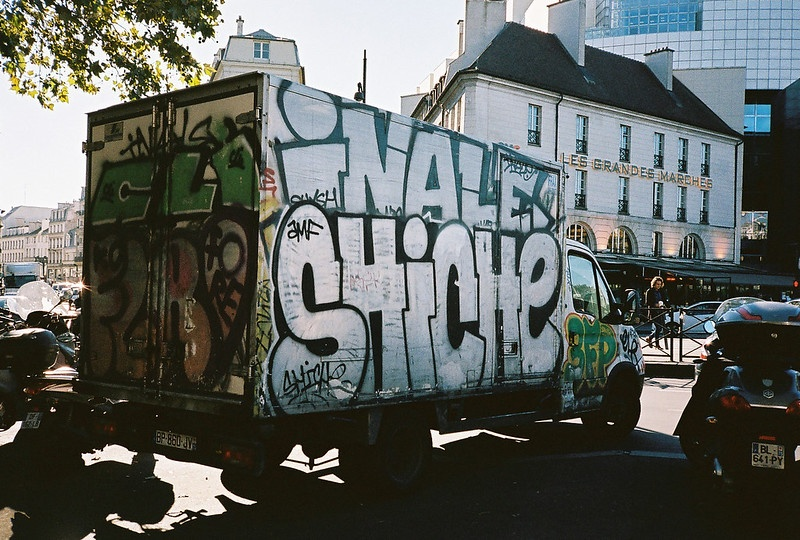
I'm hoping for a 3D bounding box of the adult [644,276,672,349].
[{"bbox_3d":[6.752,1.241,22.987,0.588,2.180,3.681,4,12,16],"label":"adult"}]

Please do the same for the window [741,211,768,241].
[{"bbox_3d":[24.075,-3.040,59.062,1.740,2.054,0.142,2,5,29],"label":"window"}]

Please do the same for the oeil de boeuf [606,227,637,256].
[{"bbox_3d":[10.552,-1.425,41.836,1.244,1.648,0.144,0,-2,-41],"label":"oeil de boeuf"}]

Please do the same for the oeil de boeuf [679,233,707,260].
[{"bbox_3d":[15.211,-1.269,45.386,1.230,1.633,0.159,0,0,-40],"label":"oeil de boeuf"}]

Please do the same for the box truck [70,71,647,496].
[{"bbox_3d":[-0.719,0.062,11.997,7.172,5.368,2.474,-5,12,-27],"label":"box truck"}]

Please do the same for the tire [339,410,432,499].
[{"bbox_3d":[-0.125,2.330,11.512,1.032,0.360,1.133,5,-44,-40],"label":"tire"}]

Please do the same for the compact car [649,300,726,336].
[{"bbox_3d":[7.534,1.273,22.974,2.090,1.235,1.360,3,-6,3],"label":"compact car"}]

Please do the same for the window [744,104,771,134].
[{"bbox_3d":[25.120,-10.561,61.182,2.200,2.749,0.248,1,-22,13],"label":"window"}]
